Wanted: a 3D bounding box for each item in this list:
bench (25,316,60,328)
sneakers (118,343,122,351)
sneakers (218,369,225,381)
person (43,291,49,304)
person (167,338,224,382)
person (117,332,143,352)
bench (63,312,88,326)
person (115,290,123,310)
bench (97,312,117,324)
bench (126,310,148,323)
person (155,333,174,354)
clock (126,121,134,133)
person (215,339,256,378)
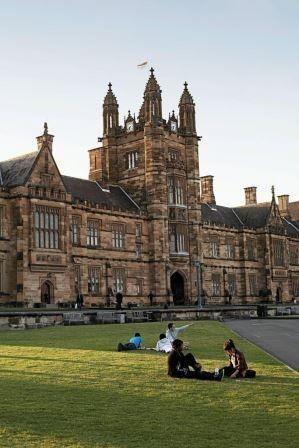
[{"bbox_3d":[-4.877,4.495,27.716,0.837,0.523,3.323,-4,-7,11],"label":"bench"},{"bbox_3d":[-0.855,3.556,17.350,0.089,0.241,0.174,5,-15,-1],"label":"sneakers"},{"bbox_3d":[1.484,3.137,12.544,0.089,0.270,0.120,-6,-32,46],"label":"sneakers"},{"bbox_3d":[-7.629,5.423,44.141,0.443,0.806,0.432,0,-8,-25],"label":"person"},{"bbox_3d":[0.980,2.941,13.016,1.225,0.773,0.625,6,-6,3],"label":"person"},{"bbox_3d":[-0.589,3.573,18.012,0.329,0.341,0.793,-8,-9,25],"label":"person"},{"bbox_3d":[-3.681,4.711,29.931,0.687,0.622,1.940,-4,-7,14],"label":"bench"},{"bbox_3d":[-2.086,5.234,40.809,0.291,1.179,0.865,-2,-7,-4],"label":"person"},{"bbox_3d":[-2.265,4.982,31.958,0.658,0.605,1.564,-6,-7,27],"label":"bench"},{"bbox_3d":[-0.707,5.139,33.240,0.837,0.598,1.641,-8,-8,36],"label":"bench"},{"bbox_3d":[0.412,3.504,17.386,0.317,0.347,0.833,0,-1,-7],"label":"person"},{"bbox_3d":[-2.023,-9.838,61.336,1.344,1.488,0.121,-7,-14,35],"label":"clock"},{"bbox_3d":[1.871,2.915,13.143,0.634,0.834,0.939,0,-9,-42],"label":"person"}]
